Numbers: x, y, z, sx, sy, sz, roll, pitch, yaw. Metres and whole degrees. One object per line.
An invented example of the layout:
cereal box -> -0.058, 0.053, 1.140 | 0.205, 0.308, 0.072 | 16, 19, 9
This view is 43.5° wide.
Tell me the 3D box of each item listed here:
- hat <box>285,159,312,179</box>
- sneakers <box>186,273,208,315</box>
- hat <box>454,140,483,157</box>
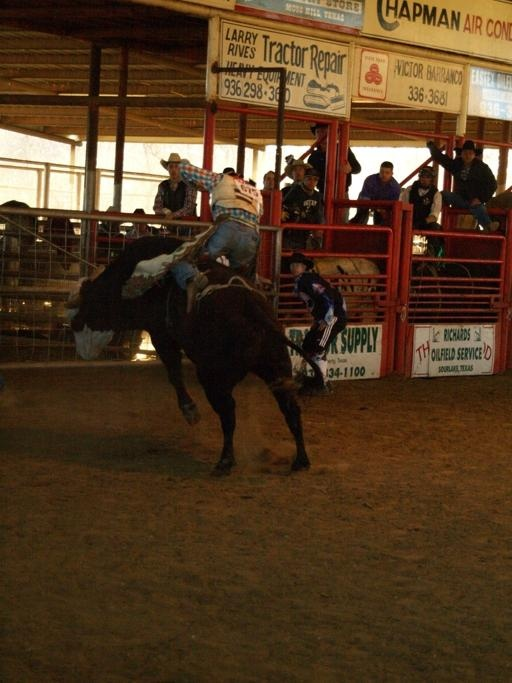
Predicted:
hat -> 0.646, -2.617, 9.877 | 0.421, 0.351, 0.138 | -1, 28, 3
sneakers -> -0.435, -0.345, 4.572 | 0.194, 0.243, 0.089 | 9, -18, 48
hat -> 3.842, -3.497, 11.597 | 0.631, 0.219, 0.624 | 3, 4, 9
